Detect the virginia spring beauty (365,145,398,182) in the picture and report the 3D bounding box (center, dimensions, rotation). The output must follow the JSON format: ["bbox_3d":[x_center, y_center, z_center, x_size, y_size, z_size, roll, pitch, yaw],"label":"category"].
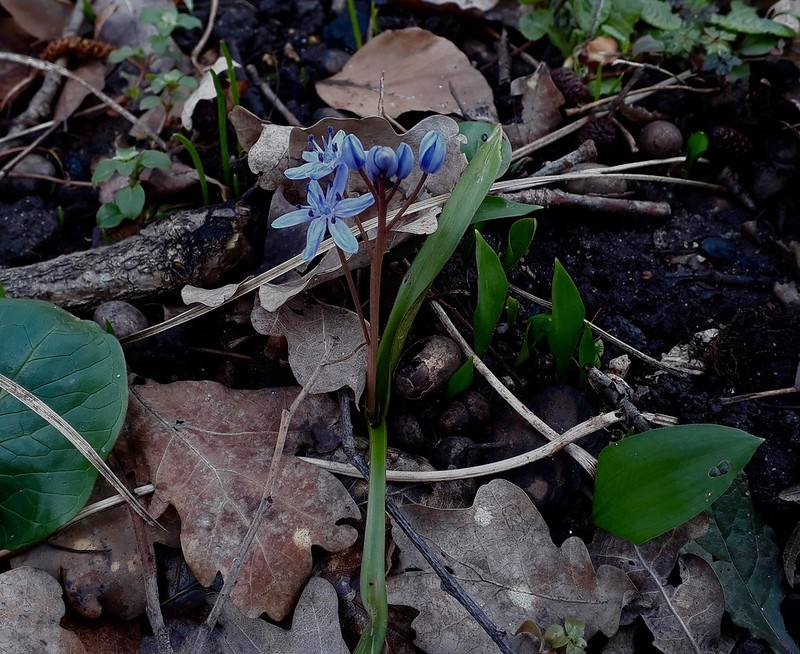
[{"bbox_3d":[-0.053,-0.491,2.309,0.078,0.123,0.095,2,31,1],"label":"virginia spring beauty"}]

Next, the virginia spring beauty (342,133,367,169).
[{"bbox_3d":[-0.136,-0.520,2.285,0.075,0.101,0.070,2,55,-3],"label":"virginia spring beauty"}]
